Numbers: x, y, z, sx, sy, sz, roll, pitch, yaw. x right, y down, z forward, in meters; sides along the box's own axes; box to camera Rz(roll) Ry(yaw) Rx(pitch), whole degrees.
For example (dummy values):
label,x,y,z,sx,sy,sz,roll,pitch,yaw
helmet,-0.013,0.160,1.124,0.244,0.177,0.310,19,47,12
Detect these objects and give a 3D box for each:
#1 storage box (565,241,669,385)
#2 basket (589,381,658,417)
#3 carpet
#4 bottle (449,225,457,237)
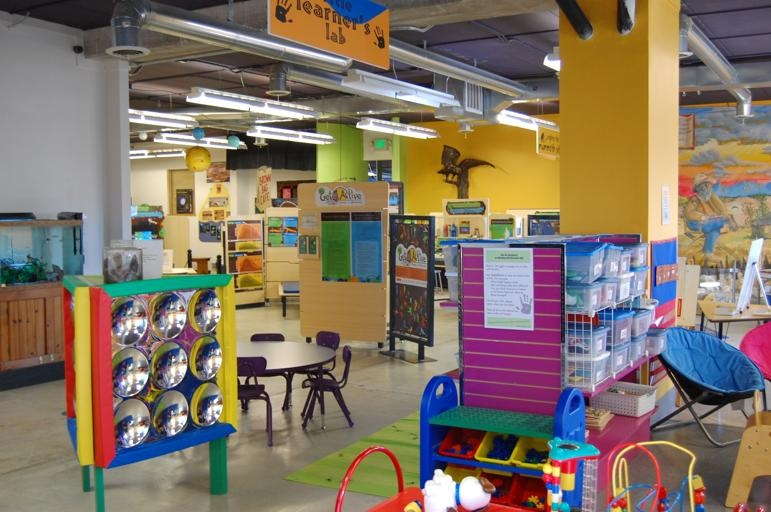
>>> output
label,x,y,z,sx,sy,sz,roll,pitch,yaw
storage box,2.298,0.584,6.319,0.733,1.054,1.842,-1,2,29
basket,2.704,1.605,7.089,0.755,0.233,0.559,-2,0,35
carpet,-0.036,2.218,6.854,1.121,0.092,1.760,6,10,39
bottle,1.747,-0.650,16.217,0.174,0.292,0.323,0,8,5
